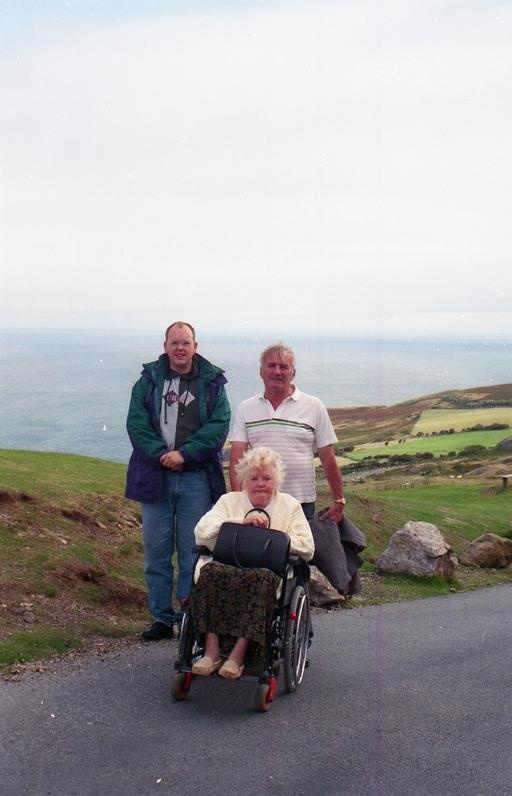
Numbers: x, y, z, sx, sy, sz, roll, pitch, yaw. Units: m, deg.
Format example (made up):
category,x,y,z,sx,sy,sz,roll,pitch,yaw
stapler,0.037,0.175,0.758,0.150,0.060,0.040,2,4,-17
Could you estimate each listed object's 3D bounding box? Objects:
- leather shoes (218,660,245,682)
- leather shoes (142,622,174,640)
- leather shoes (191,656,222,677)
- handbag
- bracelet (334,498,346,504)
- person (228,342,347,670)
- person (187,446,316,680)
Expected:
category,x,y,z,sx,sy,sz,roll,pitch,yaw
leather shoes,-0.149,1.709,4.063,0.179,0.063,0.095,5,-3,-31
leather shoes,-0.882,2.158,5.988,0.313,0.131,0.126,6,-11,-23
leather shoes,-0.298,1.718,4.171,0.115,0.072,0.295,1,-4,35
handbag,-0.052,1.041,4.458,0.469,0.331,0.336,6,-24,14
bracelet,0.736,0.923,5.742,0.085,0.064,0.111,1,-4,0
person,0.251,0.779,5.613,1.054,2.513,0.780,1,-10,-8
person,-0.099,1.089,4.524,0.783,1.452,1.027,2,-3,23
